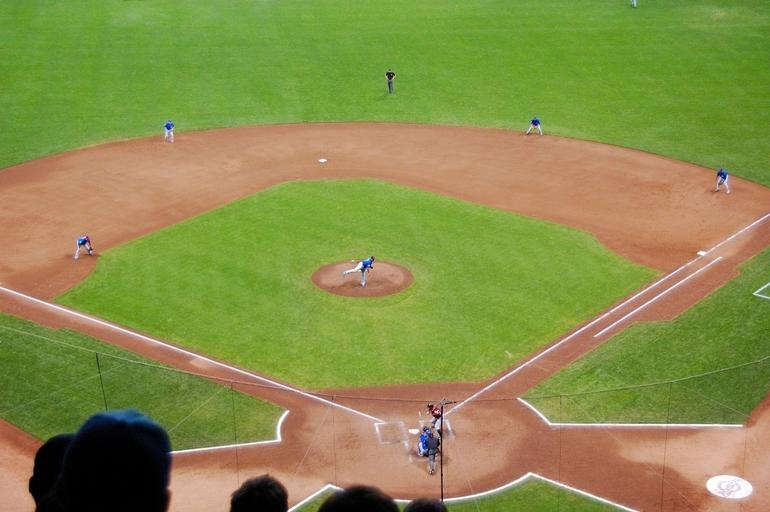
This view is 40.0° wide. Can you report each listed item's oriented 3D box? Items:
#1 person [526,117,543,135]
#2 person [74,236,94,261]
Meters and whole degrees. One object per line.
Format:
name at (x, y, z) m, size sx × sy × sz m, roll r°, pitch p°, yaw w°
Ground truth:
person at (13.341, -11.626, 94.675) m, size 1.520 × 0.631 × 1.876 m, roll 1°, pitch 34°, yaw 7°
person at (-21.276, -0.457, 74.893) m, size 1.202 × 1.605 × 0.831 m, roll 41°, pitch 47°, yaw 5°
